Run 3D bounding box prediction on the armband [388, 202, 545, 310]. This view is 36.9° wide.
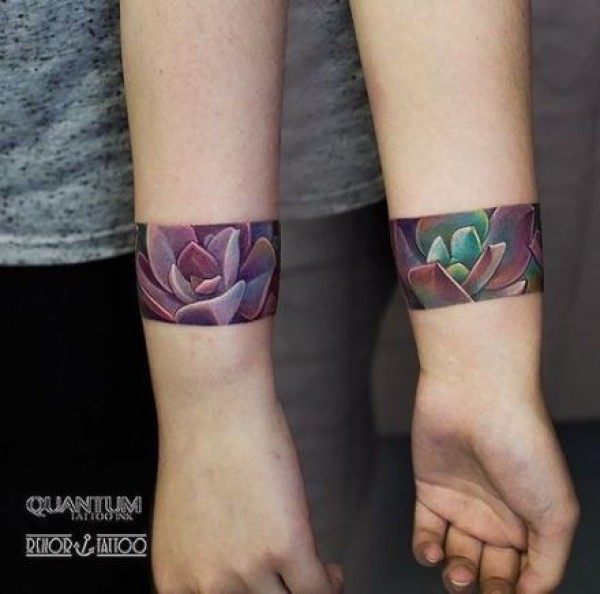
[{"bbox_3d":[0.205,-0.044,1.106,0.177,0.125,0.075,-2,30,5],"label":"armband"}]
